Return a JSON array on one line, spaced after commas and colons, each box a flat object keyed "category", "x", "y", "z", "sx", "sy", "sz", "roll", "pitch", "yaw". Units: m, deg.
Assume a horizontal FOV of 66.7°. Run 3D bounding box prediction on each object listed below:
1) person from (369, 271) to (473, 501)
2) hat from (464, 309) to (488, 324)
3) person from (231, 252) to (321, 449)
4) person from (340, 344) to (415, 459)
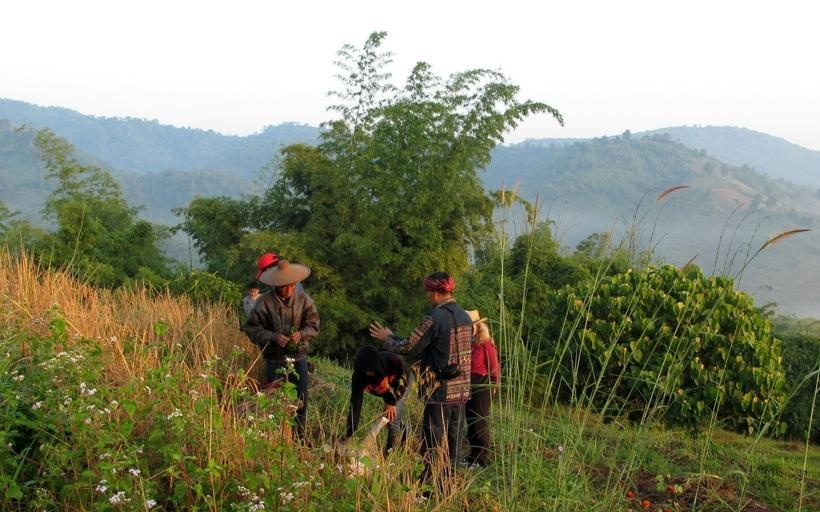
[{"category": "person", "x": 0.102, "y": 1.591, "z": 7.608, "sx": 1.255, "sy": 2.636, "sz": 1.023, "roll": -2, "pitch": -7, "yaw": 31}, {"category": "hat", "x": 0.807, "y": 0.727, "z": 7.535, "sx": 0.219, "sy": 0.079, "sz": 0.193, "roll": -24, "pitch": 1, "yaw": 34}, {"category": "person", "x": -1.640, "y": 1.037, "z": 7.859, "sx": 0.949, "sy": 1.967, "sz": 1.372, "roll": 9, "pitch": 7, "yaw": -14}, {"category": "person", "x": -0.344, "y": 1.690, "z": 7.058, "sx": 0.738, "sy": 1.293, "sz": 1.044, "roll": 11, "pitch": 6, "yaw": 3}]
